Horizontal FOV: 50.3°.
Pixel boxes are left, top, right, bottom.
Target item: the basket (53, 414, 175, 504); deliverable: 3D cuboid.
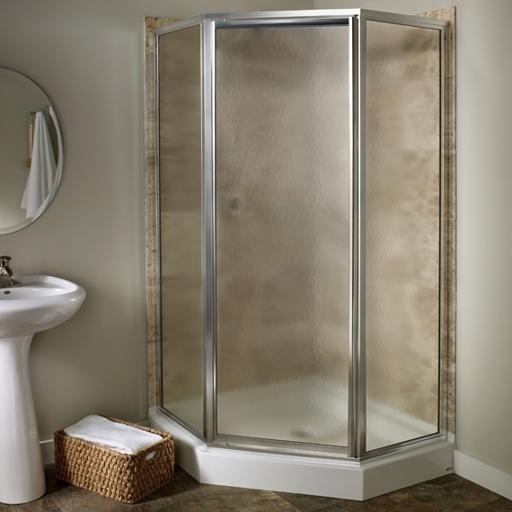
[{"bbox_3d":[-0.634,0.837,2.376,0.416,0.211,0.259,5,5,39],"label":"basket"}]
